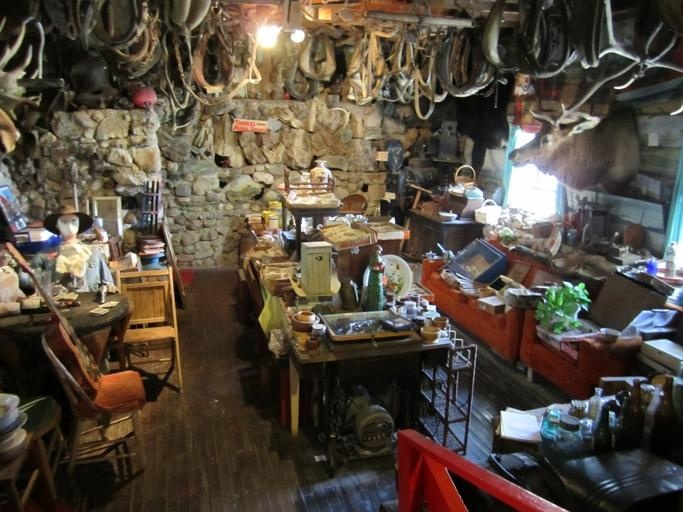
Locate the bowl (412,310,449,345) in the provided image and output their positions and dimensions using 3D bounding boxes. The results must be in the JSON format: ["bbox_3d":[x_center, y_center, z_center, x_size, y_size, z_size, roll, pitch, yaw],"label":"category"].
[{"bbox_3d":[0.762,0.623,4.306,0.239,0.207,0.504,1,0,7],"label":"bowl"}]

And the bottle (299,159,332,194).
[{"bbox_3d":[-0.316,-0.945,5.944,0.407,0.387,0.687,-3,8,-3],"label":"bottle"}]

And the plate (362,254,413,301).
[{"bbox_3d":[0.503,0.205,4.904,0.434,0.439,0.104,14,-5,-27],"label":"plate"}]

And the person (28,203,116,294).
[{"bbox_3d":[-2.859,-0.063,5.285,0.912,1.086,0.487,-12,18,-32],"label":"person"}]

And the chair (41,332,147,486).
[{"bbox_3d":[-2.029,1.286,4.036,0.862,1.219,0.841,-2,24,-17],"label":"chair"}]

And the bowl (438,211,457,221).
[{"bbox_3d":[1.660,-0.608,7.666,0.281,0.142,0.245,-3,8,2],"label":"bowl"}]

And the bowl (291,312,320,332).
[{"bbox_3d":[-0.329,0.542,4.281,0.170,0.112,0.171,5,11,-1],"label":"bowl"}]

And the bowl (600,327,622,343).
[{"bbox_3d":[2.412,0.699,4.489,0.123,0.062,0.126,-1,7,0],"label":"bowl"}]

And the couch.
[{"bbox_3d":[1.662,0.546,5.617,0.574,0.684,1.282,-2,30,-17],"label":"couch"}]

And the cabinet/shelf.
[{"bbox_3d":[1.672,-0.610,8.043,0.765,0.942,1.391,-4,14,-16],"label":"cabinet/shelf"}]

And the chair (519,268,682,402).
[{"bbox_3d":[2.641,0.769,5.036,1.165,1.235,1.115,-3,24,-19],"label":"chair"}]

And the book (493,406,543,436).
[{"bbox_3d":[1.236,1.136,3.431,0.209,0.051,0.211,3,20,4],"label":"book"}]

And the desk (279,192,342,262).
[{"bbox_3d":[-0.304,-0.177,5.611,0.602,0.733,1.070,-1,18,-10],"label":"desk"}]

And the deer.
[{"bbox_3d":[2.731,-1.187,5.693,1.527,1.516,0.885,-10,19,2],"label":"deer"}]

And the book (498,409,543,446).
[{"bbox_3d":[1.236,1.173,3.442,0.186,0.045,0.187,6,27,7],"label":"book"}]

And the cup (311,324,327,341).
[{"bbox_3d":[-0.199,0.639,4.155,0.104,0.130,0.168,2,9,29],"label":"cup"}]

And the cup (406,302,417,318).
[{"bbox_3d":[0.618,0.472,4.435,0.106,0.122,0.108,0,6,0],"label":"cup"}]

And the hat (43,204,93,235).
[{"bbox_3d":[-2.721,-0.362,4.970,0.415,0.285,0.377,-7,9,-27],"label":"hat"}]
